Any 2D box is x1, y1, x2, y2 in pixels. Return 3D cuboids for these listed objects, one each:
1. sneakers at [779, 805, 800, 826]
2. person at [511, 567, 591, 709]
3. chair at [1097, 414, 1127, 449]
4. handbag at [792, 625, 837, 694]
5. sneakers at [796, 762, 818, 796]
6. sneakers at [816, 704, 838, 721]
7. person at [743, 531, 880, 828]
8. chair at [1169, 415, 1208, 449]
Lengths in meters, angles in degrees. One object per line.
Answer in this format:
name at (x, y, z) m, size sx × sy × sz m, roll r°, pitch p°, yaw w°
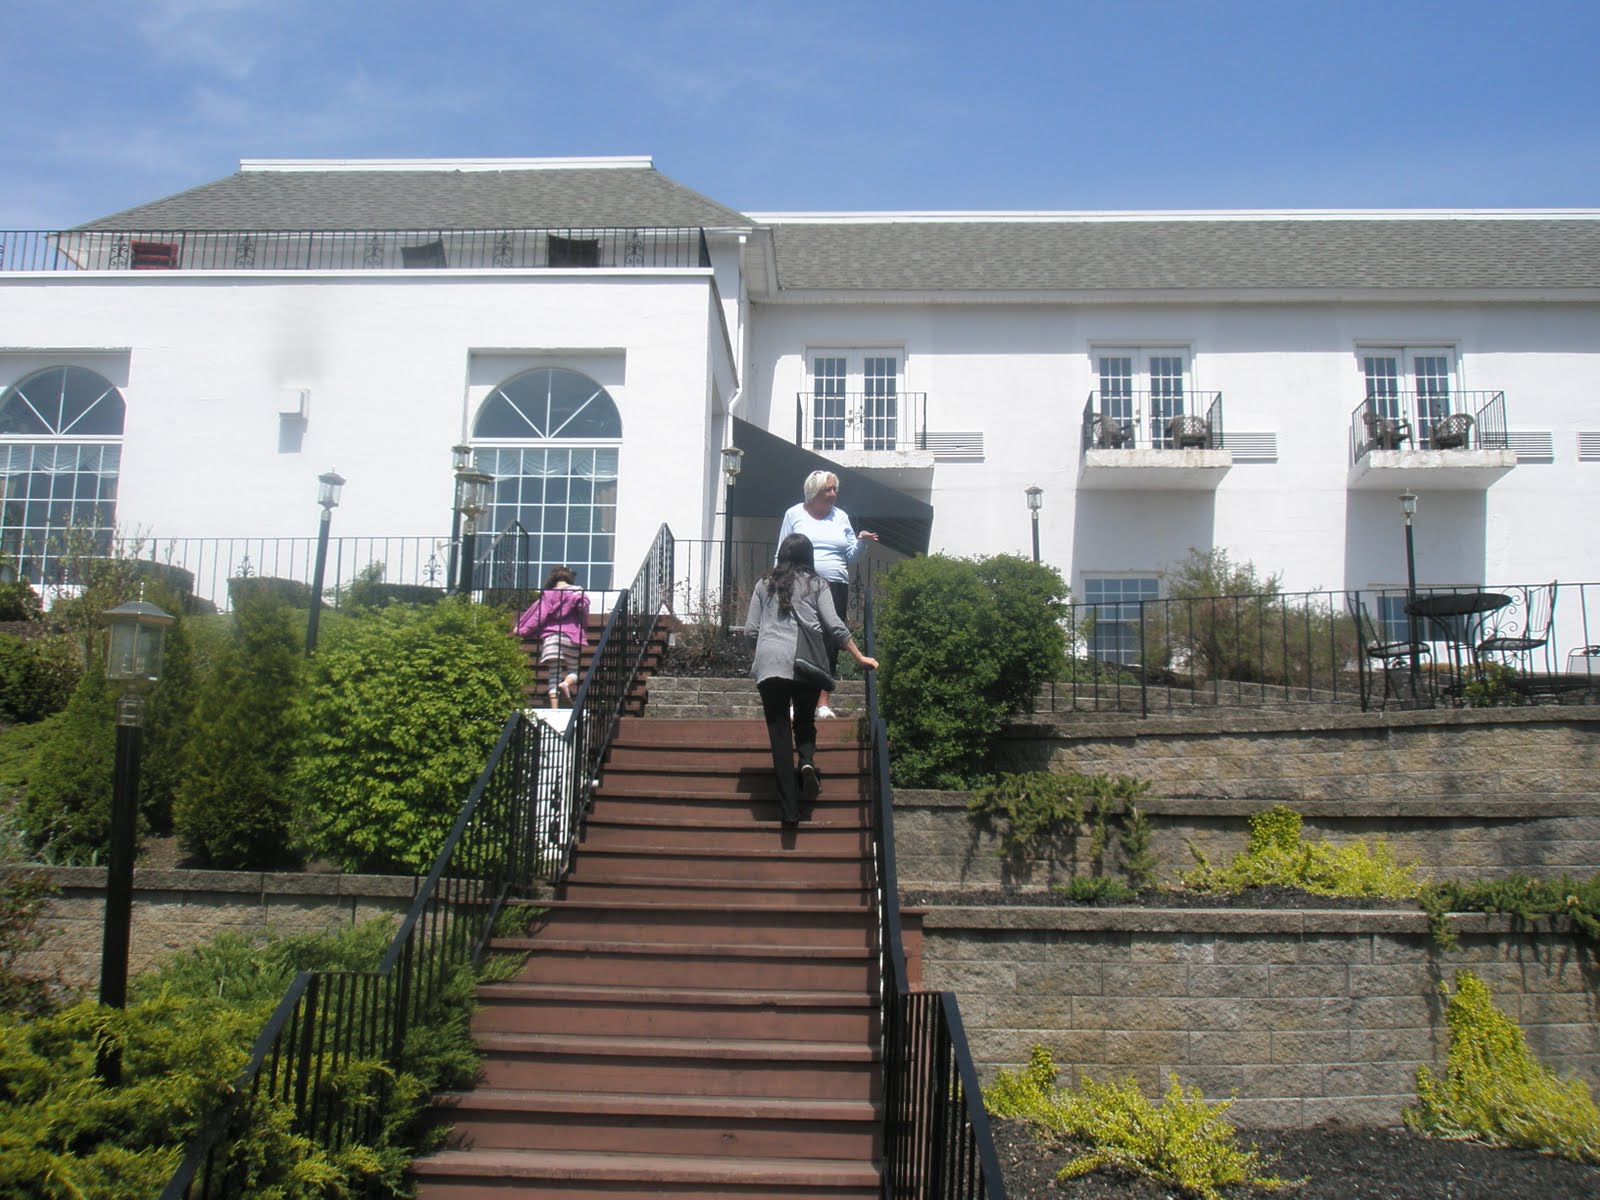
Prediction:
sneakers at (-0.078, 1.618, 11.086) m, size 0.148 × 0.191 × 0.233 m, roll 2°, pitch -1°, yaw -2°
person at (-2.462, 0.295, 14.334) m, size 0.623 × 0.995 × 1.603 m, roll 3°, pitch -1°, yaw -21°
chair at (4.909, -2.791, 22.554) m, size 0.485 × 0.520 × 0.510 m, roll 1°, pitch -2°, yaw 8°
handbag at (0.084, 0.382, 11.024) m, size 0.384 × 0.473 × 0.165 m, roll 3°, pitch -2°, yaw -34°
sneakers at (0.062, 1.336, 11.142) m, size 0.093 × 0.297 × 0.117 m, roll -1°, pitch 20°, yaw -1°
sneakers at (0.209, 0.937, 12.574) m, size 0.100 × 0.104 × 0.250 m, roll -2°, pitch -10°, yaw -2°
person at (0.003, 0.597, 11.253) m, size 0.876 × 2.387 × 0.763 m, roll 2°, pitch -1°, yaw 0°
chair at (6.053, -2.779, 22.499) m, size 0.506 × 0.708 × 0.549 m, roll 0°, pitch -5°, yaw -6°
